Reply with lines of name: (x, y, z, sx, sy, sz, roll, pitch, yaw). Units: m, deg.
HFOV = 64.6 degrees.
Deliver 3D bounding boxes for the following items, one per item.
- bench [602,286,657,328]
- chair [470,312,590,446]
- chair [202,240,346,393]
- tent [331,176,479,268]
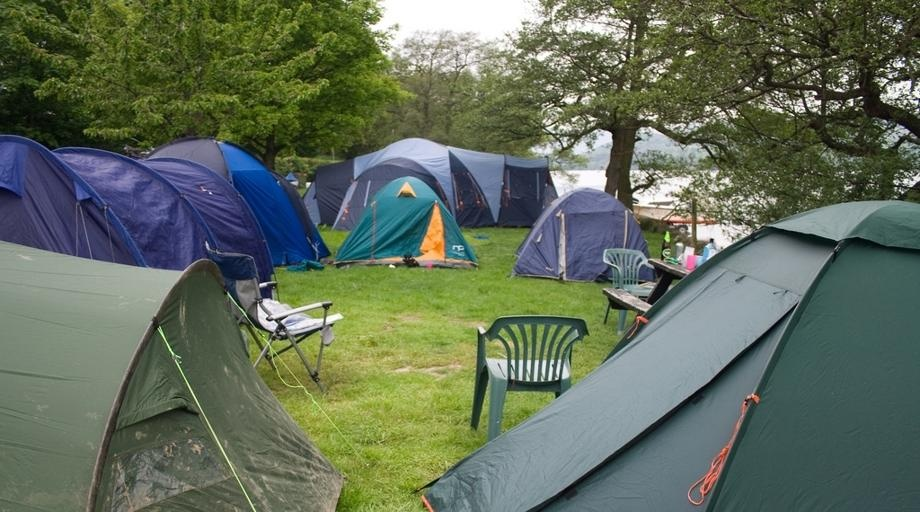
bench: (2.678, 0.776, 11.791, 0.553, 0.510, 1.536, -1, 7, -3)
chair: (0.793, 1.422, 9.738, 1.668, 2.119, 1.546, 0, 14, -4)
chair: (-2.586, 0.918, 10.666, 1.817, 2.066, 1.811, -2, 4, -34)
tent: (-1.101, -1.020, 17.239, 3.996, 1.791, 3.576, -5, 19, -17)
